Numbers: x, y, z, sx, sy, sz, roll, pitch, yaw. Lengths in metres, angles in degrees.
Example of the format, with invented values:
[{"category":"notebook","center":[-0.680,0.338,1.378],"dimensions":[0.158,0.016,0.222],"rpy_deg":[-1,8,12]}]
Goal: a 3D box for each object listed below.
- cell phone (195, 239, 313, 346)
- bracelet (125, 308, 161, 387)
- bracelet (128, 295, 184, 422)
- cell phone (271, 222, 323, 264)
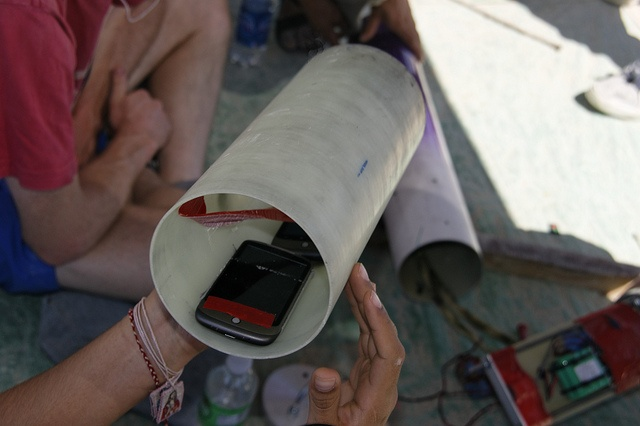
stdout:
[{"category":"cell phone","center":[-0.120,0.144,1.168],"dimensions":[0.153,0.026,0.222],"rpy_deg":[29,61,4]},{"category":"bracelet","center":[-0.373,0.295,1.336],"dimensions":[0.027,0.141,0.131],"rpy_deg":[-15,24,-6]},{"category":"bracelet","center":[-0.321,0.294,1.338],"dimensions":[0.054,0.240,0.170],"rpy_deg":[-11,28,-32]},{"category":"cell phone","center":[-0.046,0.057,1.256],"dimensions":[0.074,0.020,0.091],"rpy_deg":[5,57,4]}]
